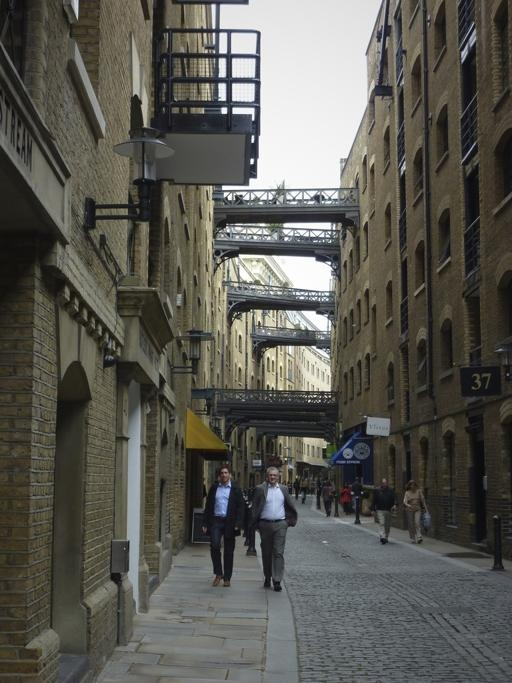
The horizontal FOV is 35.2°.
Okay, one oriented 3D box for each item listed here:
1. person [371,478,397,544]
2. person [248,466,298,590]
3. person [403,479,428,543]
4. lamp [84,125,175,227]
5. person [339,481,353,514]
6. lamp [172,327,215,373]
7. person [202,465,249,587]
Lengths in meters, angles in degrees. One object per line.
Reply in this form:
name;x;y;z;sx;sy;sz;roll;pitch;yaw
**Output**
person;3.229;4.333;20.320;0.592;1.703;0.906;-4;-13;10
person;0.219;2.707;11.472;0.449;1.913;0.607;-7;-27;16
person;3.920;4.237;19.896;0.350;1.650;0.361;1;14;30
lamp;-0.936;-1.189;5.958;0.463;0.904;0.470;1;-25;-4
person;4.270;7.569;38.131;0.544;1.654;2.043;-2;-17;5
lamp;-1.338;0.214;17.289;0.474;1.033;0.644;4;-5;1
person;-0.468;2.759;11.791;0.684;1.673;0.538;-9;-14;32
